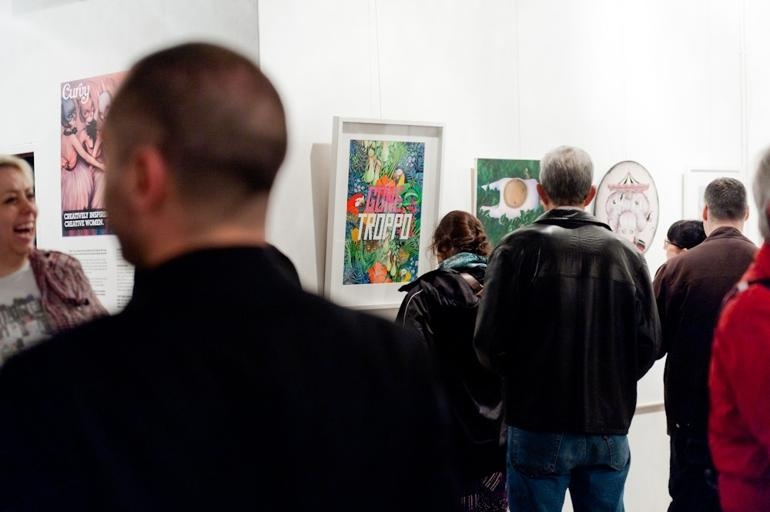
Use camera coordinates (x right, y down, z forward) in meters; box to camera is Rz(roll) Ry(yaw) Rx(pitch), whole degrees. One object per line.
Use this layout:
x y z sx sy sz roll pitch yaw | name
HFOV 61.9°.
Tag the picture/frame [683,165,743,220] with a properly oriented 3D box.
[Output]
1.589 -0.318 3.133 0.297 0.310 0.161 3 -1 -6 | picture/frame
